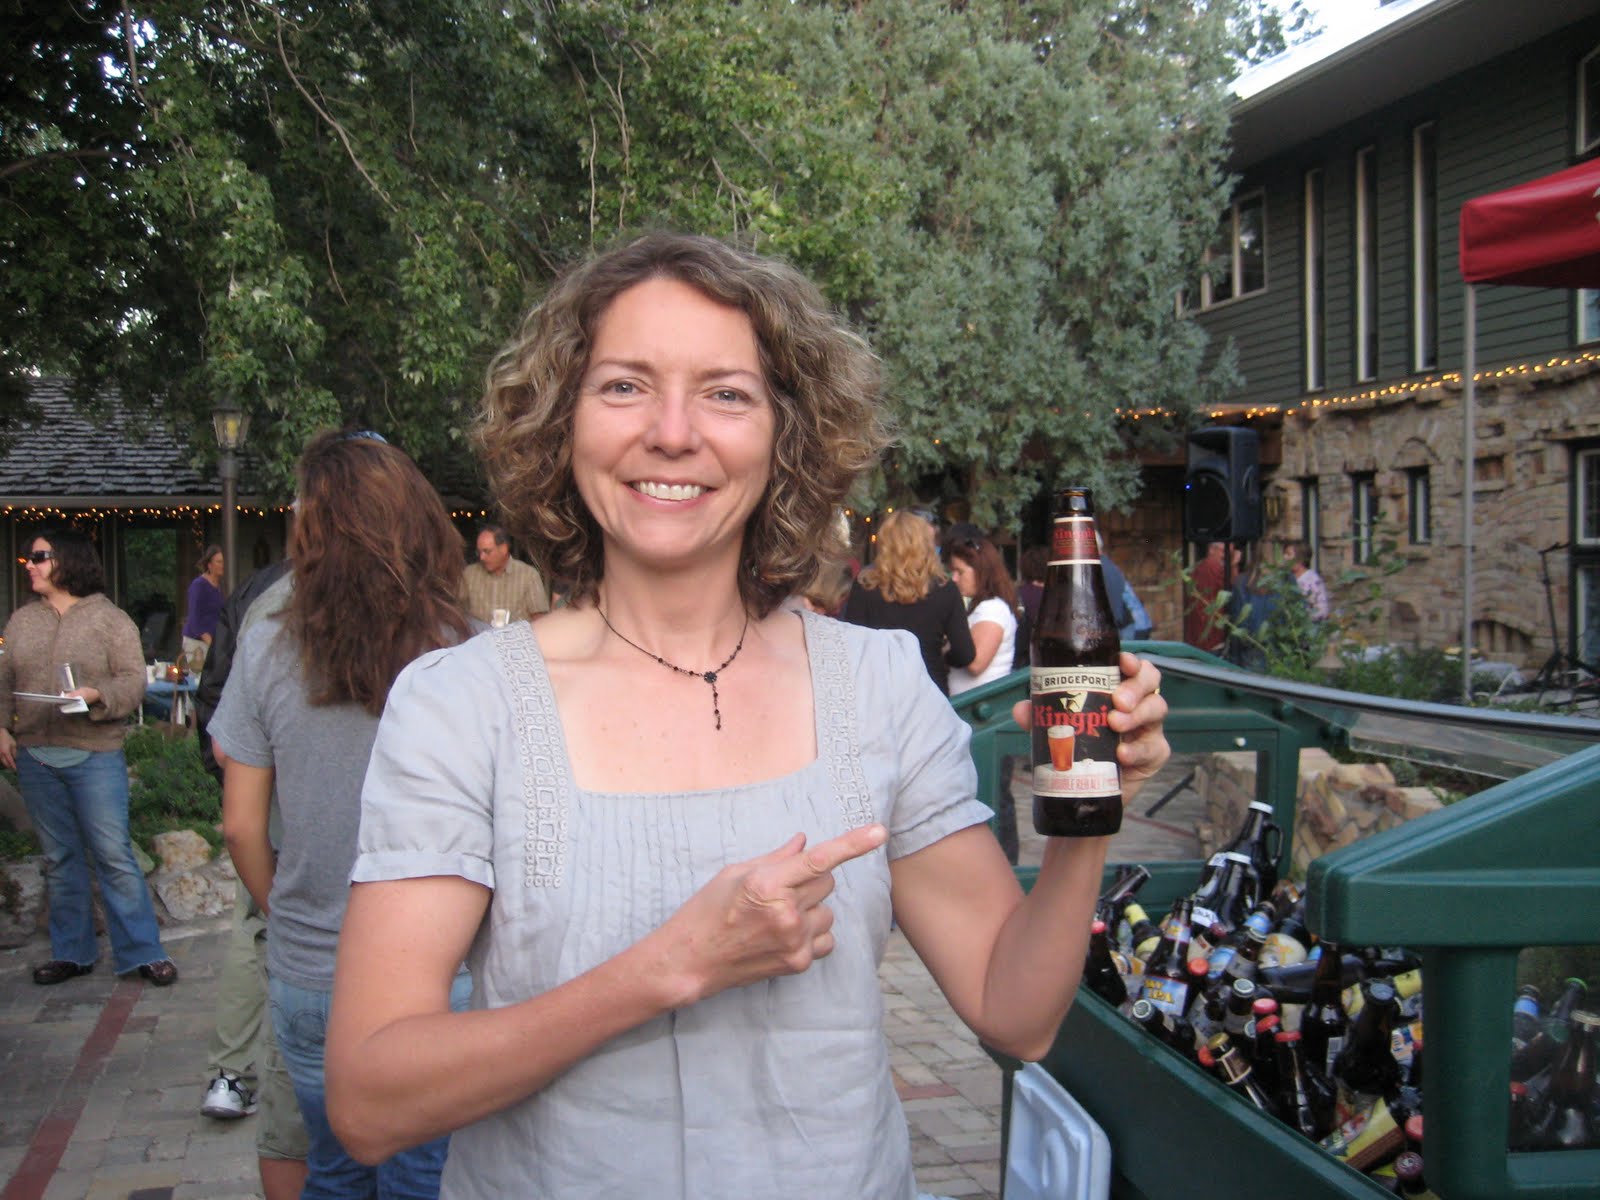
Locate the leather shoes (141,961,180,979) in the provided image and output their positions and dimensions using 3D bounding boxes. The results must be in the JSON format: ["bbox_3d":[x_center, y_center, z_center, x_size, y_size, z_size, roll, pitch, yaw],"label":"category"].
[{"bbox_3d":[-3.050,1.788,5.867,0.224,0.099,0.075,-2,0,41],"label":"leather shoes"}]

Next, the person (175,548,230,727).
[{"bbox_3d":[-5.686,0.384,12.057,0.513,1.732,0.489,9,11,21],"label":"person"}]

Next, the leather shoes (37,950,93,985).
[{"bbox_3d":[-3.570,1.803,5.989,0.097,0.094,0.249,9,-1,43],"label":"leather shoes"}]

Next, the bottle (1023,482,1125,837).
[{"bbox_3d":[0.392,0.087,1.751,0.127,0.483,0.225,0,4,13],"label":"bottle"}]

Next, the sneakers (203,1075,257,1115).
[{"bbox_3d":[-2.073,1.798,4.459,0.106,0.132,0.280,6,-19,-9],"label":"sneakers"}]

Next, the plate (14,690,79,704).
[{"bbox_3d":[-3.406,0.443,5.562,0.240,0.026,0.140,0,-10,15],"label":"plate"}]

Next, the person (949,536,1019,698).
[{"bbox_3d":[0.899,0.092,6.184,0.242,0.320,0.736,-9,17,13],"label":"person"}]
